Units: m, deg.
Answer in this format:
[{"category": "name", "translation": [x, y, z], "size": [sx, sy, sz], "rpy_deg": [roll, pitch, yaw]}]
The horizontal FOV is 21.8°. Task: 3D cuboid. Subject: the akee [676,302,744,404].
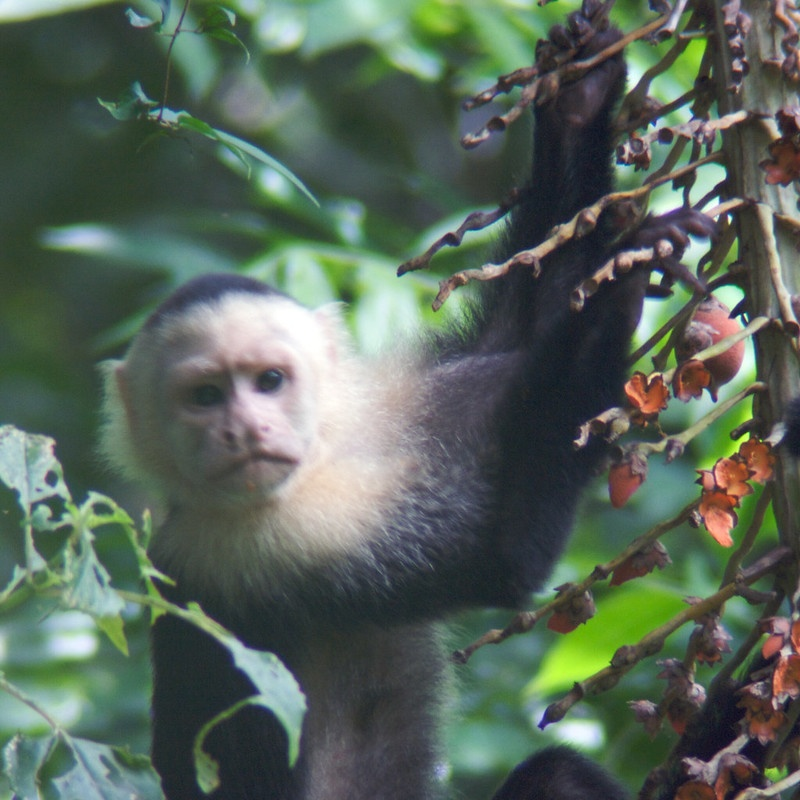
[{"category": "akee", "translation": [0.462, -0.077, 3.092], "size": [0.104, 0.165, 0.219], "rpy_deg": [-7, -6, 10]}]
